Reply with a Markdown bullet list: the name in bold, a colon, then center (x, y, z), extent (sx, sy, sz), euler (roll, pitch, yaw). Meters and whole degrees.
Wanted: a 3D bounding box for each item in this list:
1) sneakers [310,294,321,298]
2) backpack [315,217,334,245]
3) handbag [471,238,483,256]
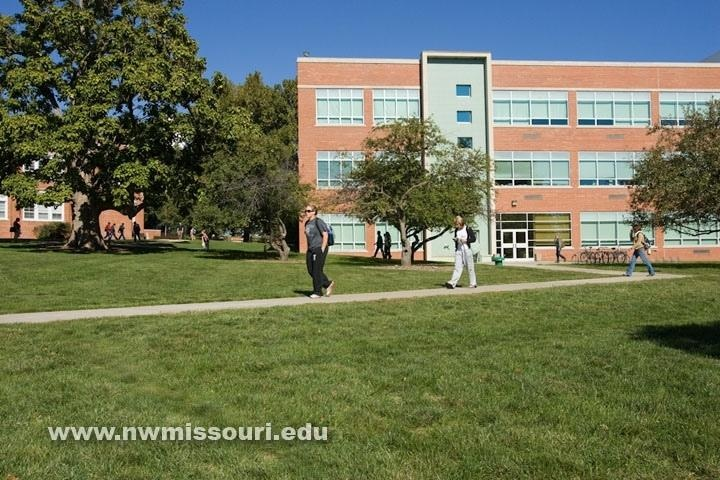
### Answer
- **sneakers**: center (-1.181, 1.502, 16.749), extent (0.252, 0.115, 0.107), euler (10, -12, -34)
- **backpack**: center (-0.790, -0.189, 16.332), extent (0.642, 0.661, 0.477), euler (0, -2, -26)
- **handbag**: center (7.428, 0.429, 39.075), extent (0.597, 1.036, 1.053), euler (4, -9, -3)
